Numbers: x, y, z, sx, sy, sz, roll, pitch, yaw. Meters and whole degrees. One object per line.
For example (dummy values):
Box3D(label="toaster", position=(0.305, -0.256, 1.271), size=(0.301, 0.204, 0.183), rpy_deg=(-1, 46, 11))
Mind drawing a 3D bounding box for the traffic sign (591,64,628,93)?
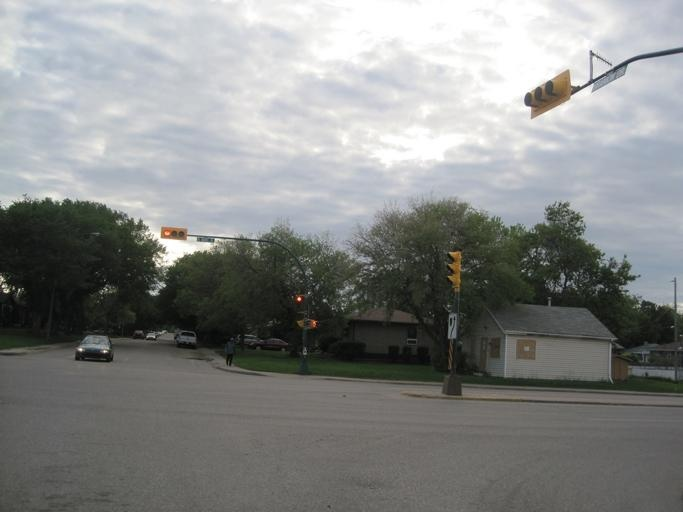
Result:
Box3D(label="traffic sign", position=(6.415, -4.346, 15.531), size=(0.572, 0.560, 0.758), rpy_deg=(6, -7, -33))

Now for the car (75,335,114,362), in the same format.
Box3D(label="car", position=(-13.264, 4.908, 34.399), size=(1.230, 1.016, 2.191), rpy_deg=(2, -14, -15))

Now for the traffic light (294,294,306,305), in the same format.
Box3D(label="traffic light", position=(-2.408, 2.360, 35.425), size=(0.512, 0.539, 0.523), rpy_deg=(0, -5, -2))
